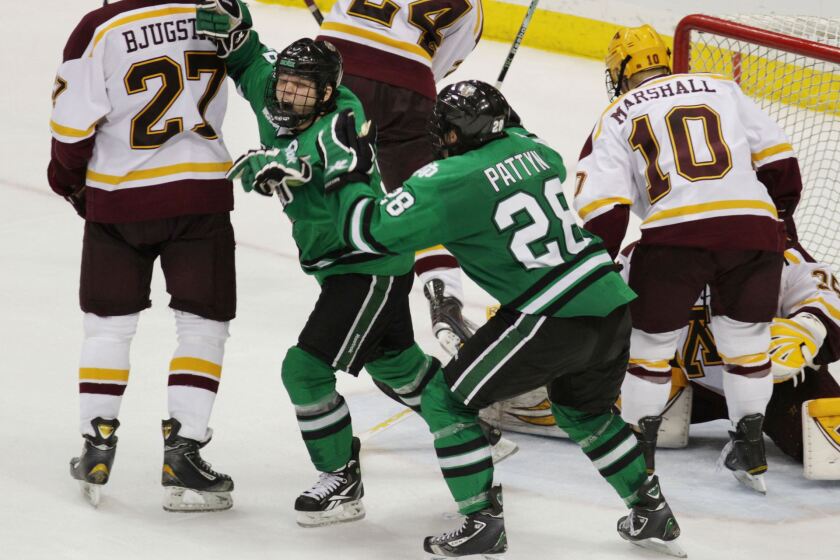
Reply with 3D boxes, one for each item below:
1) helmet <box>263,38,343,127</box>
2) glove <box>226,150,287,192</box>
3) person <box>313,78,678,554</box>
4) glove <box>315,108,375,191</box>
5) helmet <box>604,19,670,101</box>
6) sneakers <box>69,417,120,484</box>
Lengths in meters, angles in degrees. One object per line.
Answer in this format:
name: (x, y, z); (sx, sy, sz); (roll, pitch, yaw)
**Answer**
helmet: (-0.499, -0.858, 3.870); (0.300, 0.346, 0.375); (21, 31, 34)
glove: (-0.633, -0.451, 3.596); (0.187, 0.179, 0.080); (29, 1, 34)
person: (0.336, 0.152, 3.660); (1.413, 1.855, 0.683); (0, 15, -11)
glove: (-0.278, -0.515, 3.628); (0.265, 0.294, 0.123); (-17, -23, 13)
helmet: (1.183, -1.178, 4.762); (0.331, 0.397, 0.405); (-16, 20, -13)
sneakers: (-1.390, 0.760, 3.925); (0.197, 0.337, 0.234); (-8, 18, -36)
